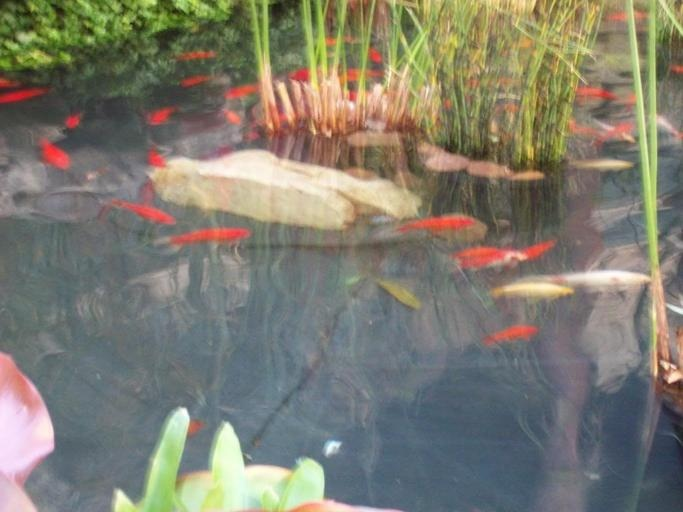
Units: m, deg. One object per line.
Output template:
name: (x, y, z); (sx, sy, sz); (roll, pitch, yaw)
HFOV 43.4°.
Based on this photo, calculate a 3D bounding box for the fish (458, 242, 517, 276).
fish: (0.377, 0.005, 2.287); (0.106, 0.038, 0.074); (-7, 6, -12)

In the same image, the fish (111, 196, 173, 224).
fish: (-0.540, -0.118, 2.340); (0.175, 0.077, 0.033); (-2, 6, 14)

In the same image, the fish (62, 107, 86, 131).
fish: (-0.781, -0.395, 2.506); (0.025, 0.094, 0.036); (19, -34, -2)

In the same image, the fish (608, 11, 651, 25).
fish: (0.818, -0.687, 2.459); (0.160, 0.032, 0.029); (-9, 9, -34)

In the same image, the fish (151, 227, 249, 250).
fish: (-0.386, -0.044, 2.312); (0.173, 0.063, 0.034); (-5, -7, -5)

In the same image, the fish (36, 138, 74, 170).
fish: (-0.807, -0.283, 2.413); (0.101, 0.086, 0.049); (0, 7, 28)
